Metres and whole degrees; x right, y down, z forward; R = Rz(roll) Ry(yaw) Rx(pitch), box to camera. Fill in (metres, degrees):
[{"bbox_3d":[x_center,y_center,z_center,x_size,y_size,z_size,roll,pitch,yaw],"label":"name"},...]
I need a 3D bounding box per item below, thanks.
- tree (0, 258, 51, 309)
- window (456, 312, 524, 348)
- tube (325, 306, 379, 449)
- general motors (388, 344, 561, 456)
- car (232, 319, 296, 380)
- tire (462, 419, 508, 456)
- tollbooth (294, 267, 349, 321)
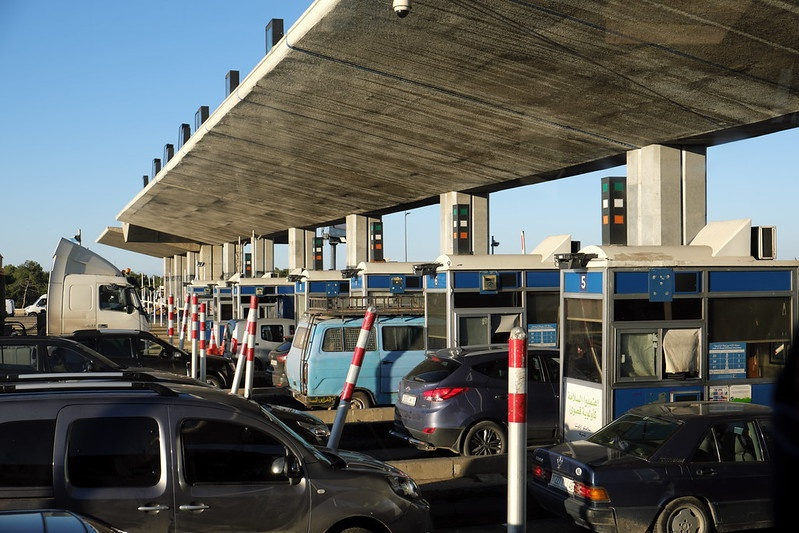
[{"bbox_3d":[-34.996,1.865,93.608,4.241,5.366,4.864,-6,-7,18],"label":"tree"},{"bbox_3d":[1.670,1.214,19.488,0.985,0.557,0.094,0,-1,-10],"label":"window"},{"bbox_3d":[-0.899,2.198,19.122,0.281,2.685,0.332,13,-7,21],"label":"tube"},{"bbox_3d":[1.517,2.326,17.767,3.076,1.244,1.711,-2,-2,-20],"label":"general motors"},{"bbox_3d":[-3.723,2.077,27.476,2.035,1.068,1.197,-1,0,-25],"label":"car"},{"bbox_3d":[1.417,2.896,17.073,0.787,0.716,0.274,0,-6,-18],"label":"tire"},{"bbox_3d":[-2.079,0.708,27.161,1.798,1.450,1.037,0,2,-7],"label":"tollbooth"}]
